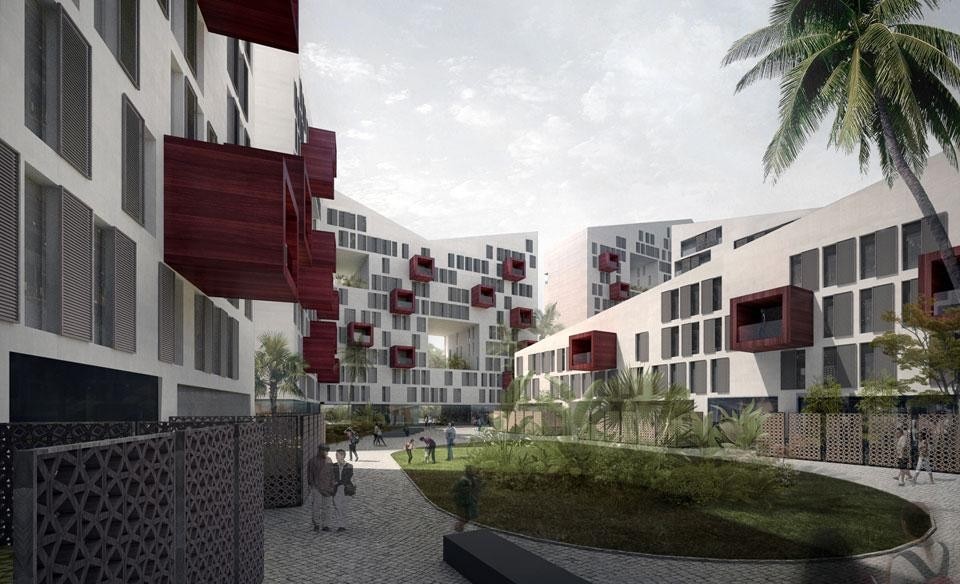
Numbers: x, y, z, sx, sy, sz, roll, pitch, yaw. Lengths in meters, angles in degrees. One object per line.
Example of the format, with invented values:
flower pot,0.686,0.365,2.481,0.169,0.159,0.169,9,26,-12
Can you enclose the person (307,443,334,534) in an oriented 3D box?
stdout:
person,-4.798,5.938,21.798,0.713,2.537,1.216,-2,6,-12

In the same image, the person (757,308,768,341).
person,15.708,1.792,39.761,0.311,2.816,0.660,35,-41,-17
